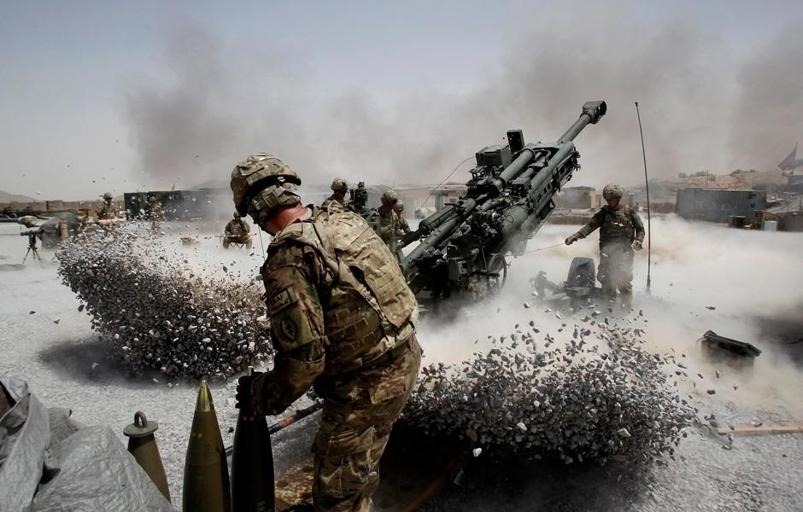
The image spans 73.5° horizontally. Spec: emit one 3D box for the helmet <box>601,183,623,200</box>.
[{"bbox_3d":[2.985,-0.898,7.581,0.249,0.227,0.292,1,9,18],"label":"helmet"}]

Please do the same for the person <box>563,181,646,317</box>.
[{"bbox_3d":[2.995,-0.153,7.719,0.842,1.742,0.718,3,9,28],"label":"person"}]

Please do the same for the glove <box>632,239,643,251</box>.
[{"bbox_3d":[3.278,-0.157,7.465,0.135,0.060,0.146,4,10,19],"label":"glove"}]

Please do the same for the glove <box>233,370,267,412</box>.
[{"bbox_3d":[-1.085,0.899,3.787,0.084,0.253,0.184,24,-4,24],"label":"glove"}]

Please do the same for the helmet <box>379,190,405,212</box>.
[{"bbox_3d":[-0.209,-1.082,9.821,0.332,0.349,0.420,-11,45,-33],"label":"helmet"}]
